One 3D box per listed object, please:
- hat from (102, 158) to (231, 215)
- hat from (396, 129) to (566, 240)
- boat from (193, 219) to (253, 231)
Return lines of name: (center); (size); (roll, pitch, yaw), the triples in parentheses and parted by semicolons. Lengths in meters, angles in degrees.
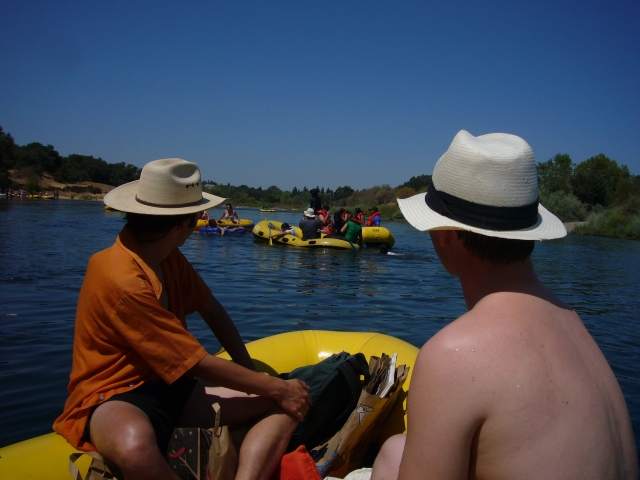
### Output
hat: (-0.842, -0.332, 2.832); (0.603, 0.246, 0.704); (17, 20, 26)
hat: (0.634, -0.240, 1.969); (0.686, 0.358, 0.657); (0, 22, -2)
boat: (-4.171, -0.646, 21.469); (2.901, 0.473, 1.400); (0, -1, -11)
